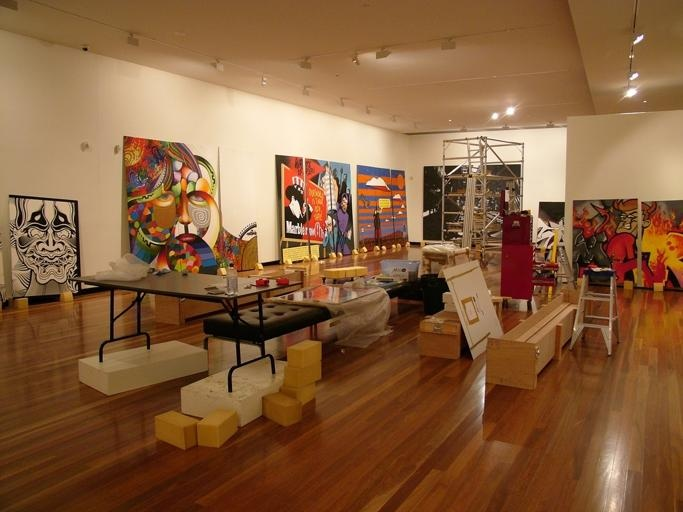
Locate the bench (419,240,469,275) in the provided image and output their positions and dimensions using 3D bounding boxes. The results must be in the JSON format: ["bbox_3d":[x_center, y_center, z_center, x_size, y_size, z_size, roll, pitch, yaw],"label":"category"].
[{"bbox_3d":[1.745,0.021,8.089,0.579,0.486,0.618,0,5,21],"label":"bench"}]

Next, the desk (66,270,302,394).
[{"bbox_3d":[-1.933,0.717,4.910,2.621,1.040,1.364,4,8,40],"label":"desk"}]
